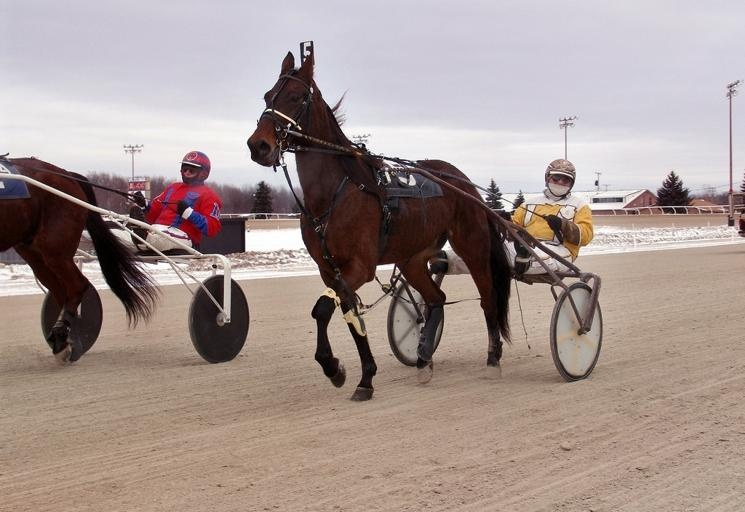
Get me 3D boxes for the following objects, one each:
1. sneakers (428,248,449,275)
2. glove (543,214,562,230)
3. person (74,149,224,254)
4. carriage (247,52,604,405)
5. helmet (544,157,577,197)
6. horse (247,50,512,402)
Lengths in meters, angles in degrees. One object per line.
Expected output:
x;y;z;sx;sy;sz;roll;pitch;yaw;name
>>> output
0.713;0.062;6.212;0.184;0.250;0.247;2;1;37;sneakers
1.757;-0.329;5.765;0.157;0.120;0.104;26;-2;-32;glove
-2.320;-0.621;6.385;0.903;1.043;1.583;8;7;24;person
0.209;-0.204;5.582;0.796;2.754;3.873;-2;-3;35;carriage
1.945;-0.807;6.146;0.333;0.398;0.360;3;15;-20;helmet
0.234;-0.076;5.494;0.837;2.703;3.547;-6;-7;42;horse
